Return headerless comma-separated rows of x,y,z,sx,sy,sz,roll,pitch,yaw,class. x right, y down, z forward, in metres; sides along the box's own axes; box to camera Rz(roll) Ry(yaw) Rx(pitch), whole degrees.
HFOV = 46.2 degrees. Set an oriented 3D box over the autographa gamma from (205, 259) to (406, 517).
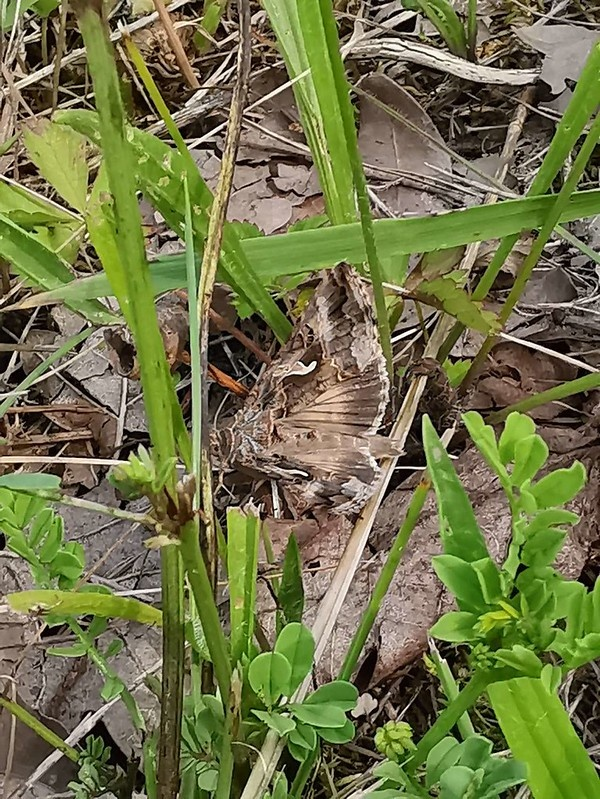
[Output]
0.062,0.000,0.813,0.274,0.135,0.324,-9,78,15,autographa gamma
